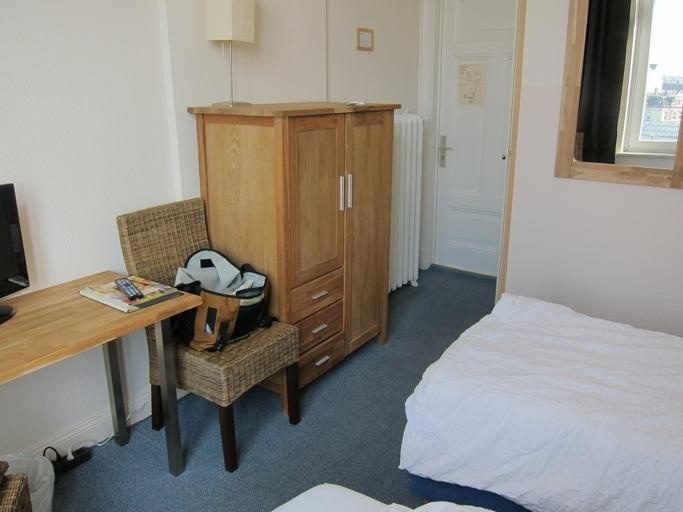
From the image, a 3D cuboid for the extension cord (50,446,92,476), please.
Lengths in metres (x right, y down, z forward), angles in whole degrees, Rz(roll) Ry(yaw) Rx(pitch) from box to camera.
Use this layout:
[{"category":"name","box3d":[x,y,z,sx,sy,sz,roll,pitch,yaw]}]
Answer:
[{"category":"extension cord","box3d":[-1.345,1.019,2.483,0.040,0.098,0.136,32,40,27]}]

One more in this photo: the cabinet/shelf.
[{"category":"cabinet/shelf","box3d":[-0.237,-0.119,3.152,0.672,1.632,1.153,10,20,29]}]

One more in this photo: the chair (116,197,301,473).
[{"category":"chair","box3d":[-0.685,0.382,2.673,0.746,1.241,0.666,8,19,23]}]

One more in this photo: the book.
[{"category":"book","box3d":[-0.938,0.172,2.277,0.237,0.027,0.220,18,22,28]}]

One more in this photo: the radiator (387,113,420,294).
[{"category":"radiator","box3d":[0.547,-0.418,4.472,0.205,1.338,0.519,1,4,-4]}]

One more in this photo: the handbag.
[{"category":"handbag","box3d":[-0.628,0.222,2.636,0.469,0.380,0.520,14,19,19]}]
